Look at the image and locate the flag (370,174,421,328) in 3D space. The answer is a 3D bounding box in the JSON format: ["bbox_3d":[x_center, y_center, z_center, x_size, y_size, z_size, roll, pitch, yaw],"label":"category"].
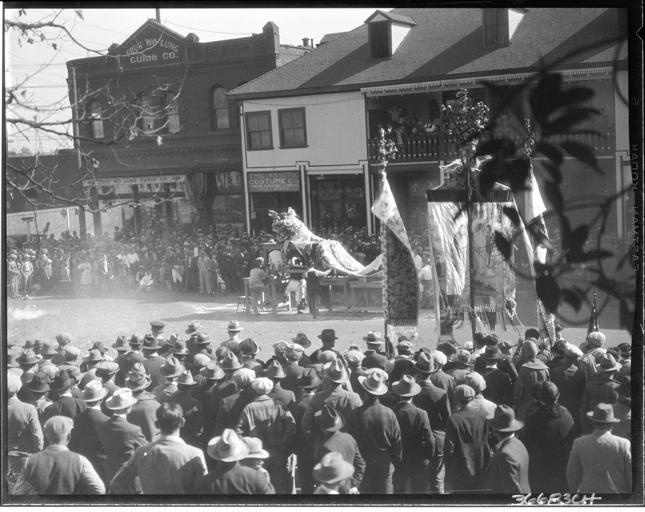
[{"bbox_3d":[1.306,-0.106,19.639,0.674,2.806,0.965,-10,14,-28],"label":"flag"}]

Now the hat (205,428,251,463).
[{"bbox_3d":[-1.257,2.431,13.938,0.636,0.384,0.439,8,16,44],"label":"hat"}]

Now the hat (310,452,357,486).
[{"bbox_3d":[0.121,2.750,13.786,0.489,0.510,0.478,-4,12,0],"label":"hat"}]

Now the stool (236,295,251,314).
[{"bbox_3d":[-1.990,1.248,27.071,0.407,0.523,0.426,0,-1,-1],"label":"stool"}]
